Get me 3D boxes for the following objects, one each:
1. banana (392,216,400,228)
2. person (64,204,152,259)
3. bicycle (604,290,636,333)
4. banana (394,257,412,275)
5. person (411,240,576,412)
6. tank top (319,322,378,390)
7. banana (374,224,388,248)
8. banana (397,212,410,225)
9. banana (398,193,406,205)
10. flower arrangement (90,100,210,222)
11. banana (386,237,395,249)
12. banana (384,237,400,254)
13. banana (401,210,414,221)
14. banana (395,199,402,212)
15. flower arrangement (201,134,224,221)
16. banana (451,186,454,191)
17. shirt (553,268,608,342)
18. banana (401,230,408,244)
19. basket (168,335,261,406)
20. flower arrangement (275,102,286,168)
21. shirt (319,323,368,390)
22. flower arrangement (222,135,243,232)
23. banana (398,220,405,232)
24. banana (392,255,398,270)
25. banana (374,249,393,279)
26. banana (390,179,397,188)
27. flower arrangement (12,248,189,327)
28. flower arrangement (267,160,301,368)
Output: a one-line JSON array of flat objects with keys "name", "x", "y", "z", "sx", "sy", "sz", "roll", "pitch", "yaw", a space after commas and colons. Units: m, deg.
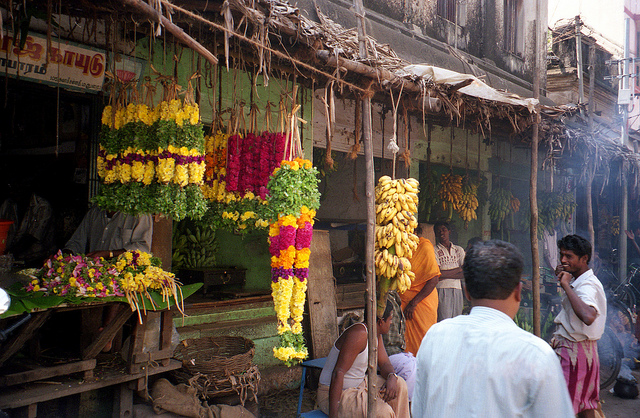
[{"name": "banana", "x": 0.864, "y": 0.151, "z": 6.808, "sx": 0.030, "sy": 0.124, "sz": 0.077, "roll": -15, "pitch": 2, "yaw": 35}, {"name": "person", "x": -2.530, "y": 0.262, "z": 7.130, "sx": 1.105, "sy": 0.631, "sz": 0.546, "roll": 1, "pitch": -3, "yaw": 16}, {"name": "bicycle", "x": 5.204, "y": 1.778, "z": 10.215, "sx": 0.176, "sy": 0.791, "sz": 0.769, "roll": -11, "pitch": -11, "yaw": -1}, {"name": "banana", "x": 0.927, "y": 0.642, "z": 6.798, "sx": 0.170, "sy": 0.195, "sz": 0.051, "roll": 7, "pitch": 2, "yaw": -22}, {"name": "person", "x": 1.415, "y": 0.999, "z": 5.004, "sx": 1.237, "sy": 1.469, "sz": 0.308, "roll": 0, "pitch": -4, "yaw": 24}, {"name": "tank top", "x": 0.310, "y": 1.691, "z": 6.803, "sx": 0.536, "sy": 0.760, "sz": 0.426, "roll": 5, "pitch": -23, "yaw": -44}, {"name": "banana", "x": 0.689, "y": 0.318, "z": 6.828, "sx": 0.132, "sy": 0.257, "sz": 0.080, "roll": -3, "pitch": -4, "yaw": 30}, {"name": "banana", "x": 0.950, "y": 0.119, "z": 6.837, "sx": 0.091, "sy": 0.159, "sz": 0.056, "roll": -39, "pitch": 13, "yaw": 2}, {"name": "banana", "x": 0.939, "y": -0.118, "z": 6.837, "sx": 0.053, "sy": 0.106, "sz": 0.035, "roll": -33, "pitch": -14, "yaw": 13}, {"name": "flower arrangement", "x": -1.779, "y": -0.540, "z": 6.871, "sx": 1.225, "sy": 1.344, "sz": 1.216, "roll": 2, "pitch": 1, "yaw": -4}, {"name": "banana", "x": 0.798, "y": 0.383, "z": 6.767, "sx": 0.096, "sy": 0.060, "sz": 0.028, "roll": -49, "pitch": -29, "yaw": 13}, {"name": "banana", "x": 0.816, "y": 0.417, "z": 6.793, "sx": 0.147, "sy": 0.178, "sz": 0.044, "roll": -11, "pitch": 3, "yaw": -4}, {"name": "banana", "x": 1.002, "y": 0.083, "z": 6.855, "sx": 0.038, "sy": 0.125, "sz": 0.071, "roll": -43, "pitch": 8, "yaw": 39}, {"name": "banana", "x": 0.902, "y": -0.029, "z": 6.842, "sx": 0.050, "sy": 0.103, "sz": 0.032, "roll": -12, "pitch": -4, "yaw": -17}, {"name": "flower arrangement", "x": -1.246, "y": -0.420, "z": 7.097, "sx": 0.236, "sy": 1.034, "sz": 0.230, "roll": -22, "pitch": 40, "yaw": -39}, {"name": "banana", "x": 2.277, "y": -0.350, "z": 10.301, "sx": 0.066, "sy": 0.069, "sz": 0.019, "roll": 0, "pitch": -7, "yaw": 33}, {"name": "shirt", "x": 3.053, "y": 1.137, "z": 7.034, "sx": 0.551, "sy": 0.968, "sz": 1.080, "roll": 6, "pitch": -2, "yaw": 15}, {"name": "banana", "x": 0.970, "y": 0.316, "z": 6.823, "sx": 0.094, "sy": 0.151, "sz": 0.051, "roll": 4, "pitch": -4, "yaw": -35}, {"name": "basket", "x": -1.178, "y": 1.894, "z": 7.260, "sx": 0.703, "sy": 0.430, "sz": 0.889, "roll": 3, "pitch": -1, "yaw": 8}, {"name": "flower arrangement", "x": -0.455, "y": -0.854, "z": 6.870, "sx": 0.105, "sy": 0.764, "sz": 0.294, "roll": 2, "pitch": -3, "yaw": -5}, {"name": "shirt", "x": 0.262, "y": 1.604, "z": 6.550, "sx": 0.520, "sy": 0.731, "sz": 0.283, "roll": 2, "pitch": -3, "yaw": 1}, {"name": "flower arrangement", "x": -1.021, "y": -0.307, "z": 6.963, "sx": 0.164, "sy": 1.093, "sz": 0.282, "roll": 4, "pitch": -4, "yaw": -35}, {"name": "banana", "x": 0.932, "y": 0.194, "z": 6.821, "sx": 0.071, "sy": 0.122, "sz": 0.041, "roll": -23, "pitch": 4, "yaw": -31}, {"name": "banana", "x": 0.852, "y": 0.608, "z": 6.758, "sx": 0.055, "sy": 0.155, "sz": 0.046, "roll": 2, "pitch": -3, "yaw": 1}, {"name": "banana", "x": 0.715, "y": 0.622, "z": 6.779, "sx": 0.189, "sy": 0.308, "sz": 0.105, "roll": -3, "pitch": 3, "yaw": 19}, {"name": "banana", "x": 0.851, "y": -0.290, "z": 6.902, "sx": 0.080, "sy": 0.091, "sz": 0.053, "roll": 1, "pitch": -3, "yaw": 15}, {"name": "flower arrangement", "x": -2.314, "y": 0.838, "z": 6.439, "sx": 1.529, "sy": 0.773, "sz": 0.325, "roll": 3, "pitch": -4, "yaw": -23}, {"name": "flower arrangement", "x": -0.398, "y": 0.558, "z": 6.472, "sx": 0.384, "sy": 2.189, "sz": 0.297, "roll": 2, "pitch": -3, "yaw": -2}]
